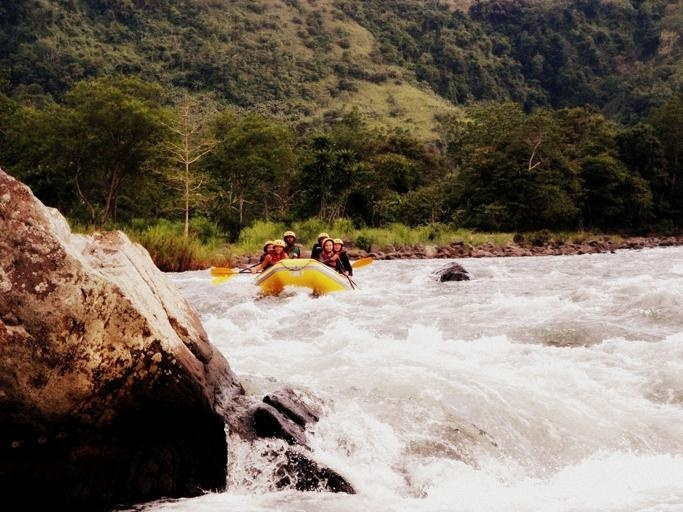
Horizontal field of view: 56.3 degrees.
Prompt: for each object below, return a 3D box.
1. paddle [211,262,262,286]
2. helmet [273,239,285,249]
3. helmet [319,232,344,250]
[{"bbox_3d":[-2.600,0.451,16.574,0.285,0.646,2.136,-4,1,32],"label":"paddle"},{"bbox_3d":[-1.542,-0.313,15.947,0.216,0.137,0.336,5,-3,-4],"label":"helmet"},{"bbox_3d":[-0.298,-0.443,16.376,0.608,0.313,0.429,5,-5,6],"label":"helmet"}]
